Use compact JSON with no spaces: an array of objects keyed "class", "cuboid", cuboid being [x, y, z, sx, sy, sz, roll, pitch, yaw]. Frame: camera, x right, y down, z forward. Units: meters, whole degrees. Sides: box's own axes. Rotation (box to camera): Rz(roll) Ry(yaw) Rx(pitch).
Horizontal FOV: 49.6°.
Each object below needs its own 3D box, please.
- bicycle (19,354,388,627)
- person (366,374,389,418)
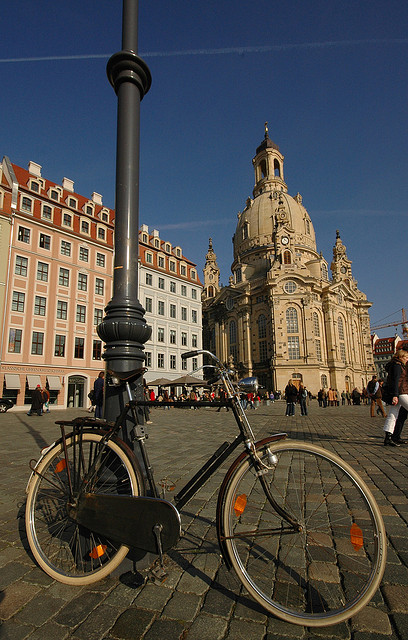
[{"class":"bicycle","cuboid":[-0.122,0.966,2.659,2.208,1.313,0.655,-3,-12,20]},{"class":"person","cuboid":[6.100,2.701,15.385,0.726,1.489,0.550,-6,-18,30]}]
